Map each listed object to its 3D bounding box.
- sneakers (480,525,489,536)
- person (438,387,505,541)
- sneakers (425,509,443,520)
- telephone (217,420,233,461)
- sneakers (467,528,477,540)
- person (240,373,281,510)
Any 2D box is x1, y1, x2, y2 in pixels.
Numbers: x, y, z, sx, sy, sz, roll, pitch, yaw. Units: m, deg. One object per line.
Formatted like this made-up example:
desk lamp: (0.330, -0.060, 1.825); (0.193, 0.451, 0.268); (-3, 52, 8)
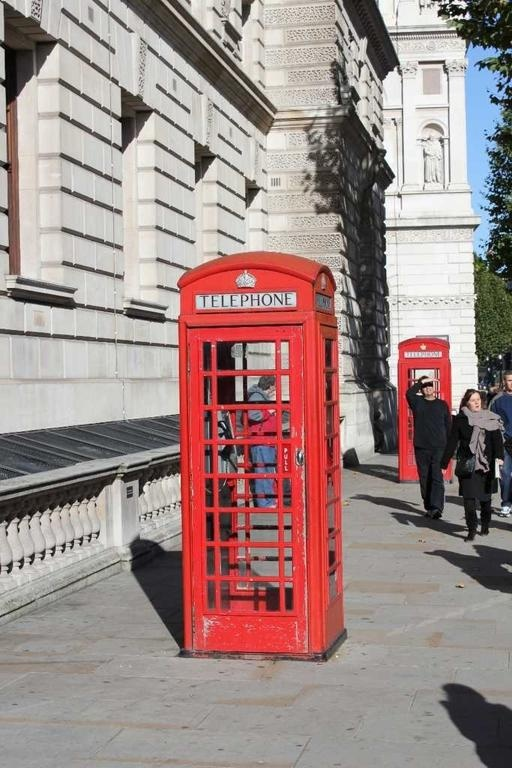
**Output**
sneakers: (2.410, 1.583, 11.473); (0.059, 0.102, 0.146); (-6, -8, 19)
person: (2.230, 0.867, 11.246); (0.592, 1.509, 0.632); (10, 6, 20)
sneakers: (2.190, 1.631, 13.396); (0.080, 0.115, 0.248); (2, 2, 2)
telephone: (-0.192, 0.337, 6.427); (0.069, 0.204, 0.141); (-5, -2, -10)
sneakers: (2.212, 1.567, 11.203); (0.091, 0.143, 0.252); (9, 6, 12)
person: (0.028, 0.352, 6.343); (0.243, 0.770, 0.135); (7, 6, -3)
